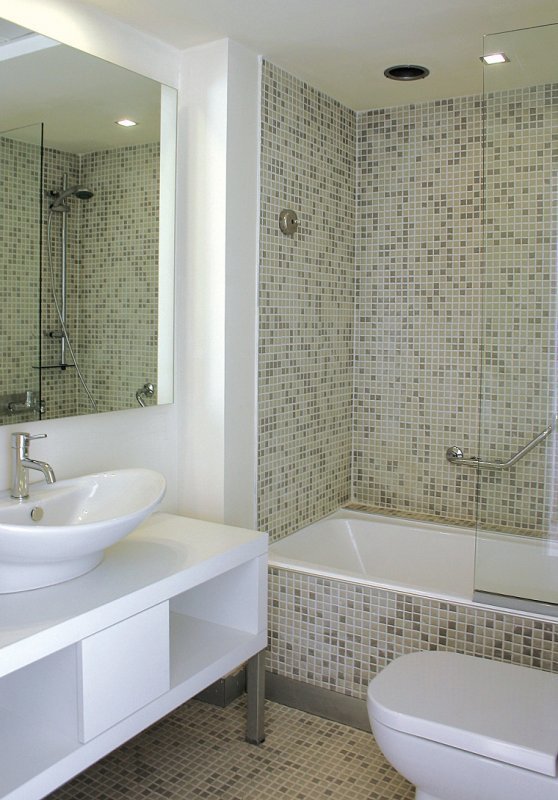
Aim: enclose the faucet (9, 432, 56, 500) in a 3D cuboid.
[{"bbox_3d":[-0.667,0.180,1.797,0.130,0.189,0.054,9,15,11],"label":"faucet"}]
